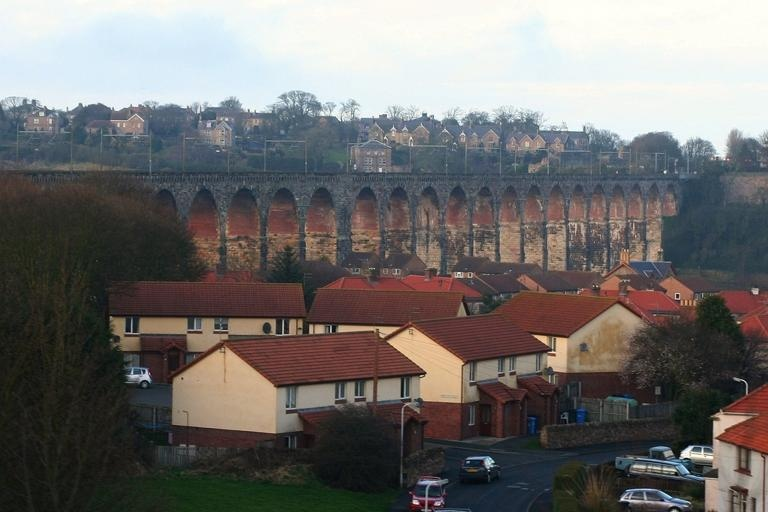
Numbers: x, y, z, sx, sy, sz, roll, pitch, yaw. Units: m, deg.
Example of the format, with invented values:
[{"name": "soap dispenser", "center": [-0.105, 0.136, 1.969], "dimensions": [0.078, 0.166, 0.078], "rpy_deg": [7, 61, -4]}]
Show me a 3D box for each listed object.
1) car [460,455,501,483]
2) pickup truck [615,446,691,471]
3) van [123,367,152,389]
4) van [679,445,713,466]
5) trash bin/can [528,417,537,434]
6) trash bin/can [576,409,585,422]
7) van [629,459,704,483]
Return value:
[{"name": "car", "center": [6.268, 13.261, 126.276], "dimensions": [1.299, 1.032, 2.383], "rpy_deg": [2, 6, 26]}, {"name": "pickup truck", "center": [16.792, 13.131, 128.282], "dimensions": [3.474, 1.529, 1.903], "rpy_deg": [-1, 3, 9]}, {"name": "van", "center": [-16.486, 8.332, 137.209], "dimensions": [1.765, 0.928, 1.005], "rpy_deg": [5, -1, -9]}, {"name": "van", "center": [19.873, 12.700, 128.633], "dimensions": [1.834, 0.887, 1.009], "rpy_deg": [-3, 2, 14]}, {"name": "trash bin/can", "center": [9.928, 11.329, 134.917], "dimensions": [0.728, 0.849, 0.400], "rpy_deg": [-1, 0, -16]}, {"name": "trash bin/can", "center": [13.410, 10.908, 137.349], "dimensions": [0.739, 0.760, 0.733], "rpy_deg": [0, -1, -7]}, {"name": "van", "center": [17.215, 13.432, 126.408], "dimensions": [3.098, 0.811, 1.762], "rpy_deg": [0, 3, 10]}]
